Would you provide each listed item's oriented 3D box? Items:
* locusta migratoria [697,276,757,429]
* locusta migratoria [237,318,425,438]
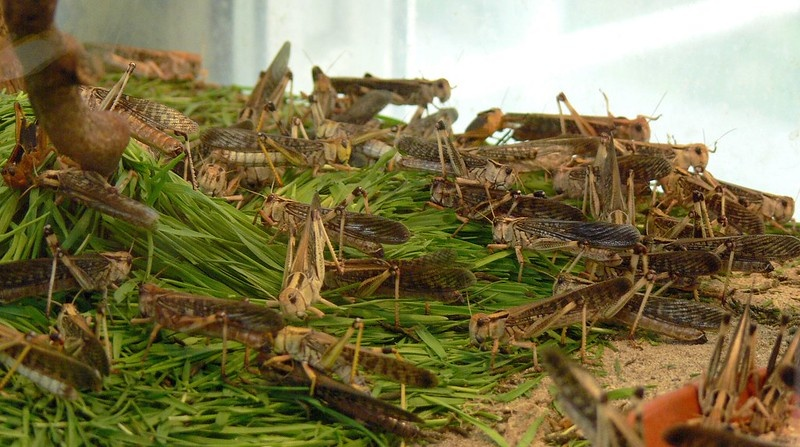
[{"bbox_3d":[1.380,0.584,3.289,0.194,0.501,0.436,15,11,25],"label":"locusta migratoria"},{"bbox_3d":[-0.299,0.781,3.546,0.704,0.255,0.493,21,44,3],"label":"locusta migratoria"}]
